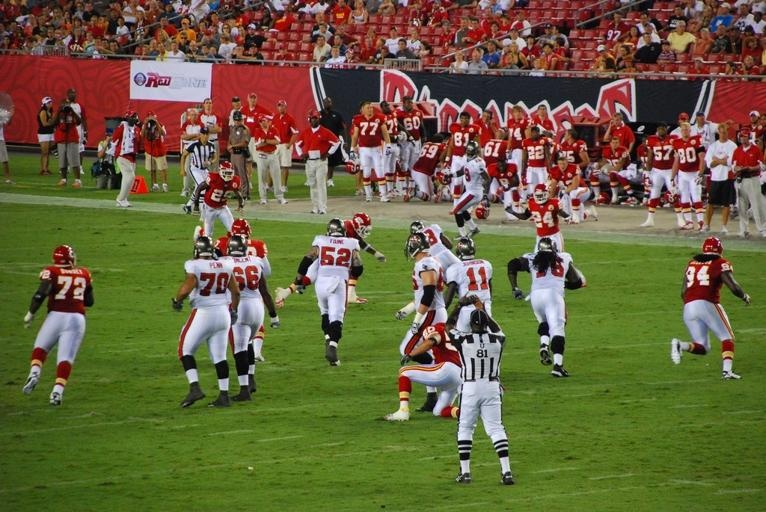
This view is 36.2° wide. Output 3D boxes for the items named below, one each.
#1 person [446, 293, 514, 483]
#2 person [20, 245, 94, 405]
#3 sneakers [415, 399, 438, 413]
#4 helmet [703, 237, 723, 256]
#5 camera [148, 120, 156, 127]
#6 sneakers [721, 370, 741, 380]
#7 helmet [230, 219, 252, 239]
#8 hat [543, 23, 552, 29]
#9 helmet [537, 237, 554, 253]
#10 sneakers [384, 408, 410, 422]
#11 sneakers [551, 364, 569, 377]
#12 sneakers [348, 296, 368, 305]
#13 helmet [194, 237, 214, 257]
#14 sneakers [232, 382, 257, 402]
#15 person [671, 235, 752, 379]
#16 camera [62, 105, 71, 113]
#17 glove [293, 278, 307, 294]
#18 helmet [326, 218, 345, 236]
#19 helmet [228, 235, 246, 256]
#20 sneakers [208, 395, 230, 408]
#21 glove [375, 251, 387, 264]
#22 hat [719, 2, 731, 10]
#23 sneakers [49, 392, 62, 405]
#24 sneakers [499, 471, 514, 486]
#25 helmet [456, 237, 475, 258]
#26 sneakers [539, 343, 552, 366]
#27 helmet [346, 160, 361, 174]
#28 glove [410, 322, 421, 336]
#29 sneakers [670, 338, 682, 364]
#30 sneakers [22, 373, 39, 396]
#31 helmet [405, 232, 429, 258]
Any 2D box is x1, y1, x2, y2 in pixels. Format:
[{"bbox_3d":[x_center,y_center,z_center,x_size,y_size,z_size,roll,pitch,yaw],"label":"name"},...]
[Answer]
[{"bbox_3d":[1.429,1.826,16.427,1.305,2.594,0.939,-2,-5,36],"label":"person"},{"bbox_3d":[-5.014,1.076,18.408,1.004,2.468,0.636,0,3,-14],"label":"person"},{"bbox_3d":[0.724,2.348,18.403,0.307,0.196,0.225,2,3,29],"label":"sneakers"},{"bbox_3d":[5.490,-0.127,19.720,0.350,0.416,0.474,3,14,13],"label":"helmet"},{"bbox_3d":[-7.022,-4.129,36.101,0.097,0.234,0.340,2,3,28],"label":"camera"},{"bbox_3d":[5.697,1.951,19.449,0.380,0.164,0.123,-2,35,-9],"label":"sneakers"},{"bbox_3d":[-2.419,-0.443,20.493,0.368,0.428,0.470,-2,24,-6],"label":"helmet"},{"bbox_3d":[5.434,-7.553,38.517,0.217,0.255,0.495,0,3,1],"label":"hat"},{"bbox_3d":[2.711,-0.187,19.586,0.211,0.257,0.261,-1,-28,9],"label":"helmet"},{"bbox_3d":[0.192,2.455,18.099,0.439,0.286,0.154,1,-1,6],"label":"sneakers"},{"bbox_3d":[2.985,1.916,19.587,0.396,0.169,0.126,5,8,-27],"label":"sneakers"},{"bbox_3d":[-0.475,0.865,23.442,0.428,0.143,0.188,-1,-30,-9],"label":"sneakers"},{"bbox_3d":[-2.722,-0.167,18.278,0.252,0.290,0.334,-2,13,-19],"label":"helmet"},{"bbox_3d":[-2.212,2.187,18.775,0.409,0.270,0.168,3,3,11],"label":"sneakers"},{"bbox_3d":[5.414,0.865,19.476,0.944,2.316,0.537,1,3,14],"label":"person"},{"bbox_3d":[-9.988,-4.744,37.594,0.243,0.226,0.236,0,-15,-6],"label":"camera"},{"bbox_3d":[-1.389,0.527,20.418,0.081,0.187,0.266,33,-28,-24],"label":"glove"},{"bbox_3d":[-0.810,-0.522,20.436,0.246,0.299,0.310,2,-5,14],"label":"helmet"},{"bbox_3d":[-2.316,-0.178,18.919,0.255,0.314,0.284,0,5,-10],"label":"helmet"},{"bbox_3d":[-2.563,2.294,18.531,0.376,0.244,0.137,3,3,14],"label":"sneakers"},{"bbox_3d":[-0.021,0.021,24.260,0.105,0.232,0.431,-28,24,-6],"label":"glove"},{"bbox_3d":[10.506,-7.764,36.128,0.326,0.106,0.207,11,1,-45],"label":"hat"},{"bbox_3d":[-5.033,2.198,18.312,0.112,0.147,0.323,3,5,-10],"label":"sneakers"},{"bbox_3d":[1.725,3.044,16.183,0.184,0.203,0.236,1,3,5],"label":"sneakers"},{"bbox_3d":[1.384,-0.157,19.216,0.252,0.275,0.324,1,22,-10],"label":"helmet"},{"bbox_3d":[2.730,1.732,19.733,0.166,0.198,0.412,-1,-36,9],"label":"sneakers"},{"bbox_3d":[-0.857,-2.806,36.793,0.357,0.435,0.453,8,5,32],"label":"helmet"},{"bbox_3d":[0.519,1.135,18.324,0.170,0.181,0.146,2,36,-8],"label":"glove"},{"bbox_3d":[4.730,1.550,19.211,0.230,0.479,0.164,2,-6,-39],"label":"sneakers"},{"bbox_3d":[-5.485,2.035,18.542,0.126,0.341,0.167,26,5,-38],"label":"sneakers"},{"bbox_3d":[0.572,-0.193,19.158,0.351,0.414,0.452,0,3,1],"label":"helmet"}]
